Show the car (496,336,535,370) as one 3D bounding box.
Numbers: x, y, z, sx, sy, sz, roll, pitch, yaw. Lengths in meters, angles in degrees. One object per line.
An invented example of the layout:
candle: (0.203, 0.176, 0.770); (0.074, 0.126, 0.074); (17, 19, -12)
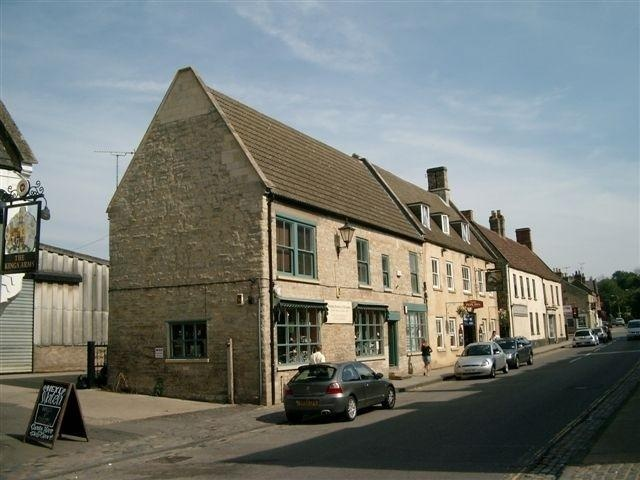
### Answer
car: (10.070, 5.822, 33.802); (1.140, 0.891, 2.516); (-9, -16, 33)

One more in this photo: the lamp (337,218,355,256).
lamp: (1.114, -0.136, 26.043); (0.651, 1.420, 1.085); (-2, -4, 26)

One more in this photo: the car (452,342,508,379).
car: (7.321, 5.541, 29.626); (1.728, 1.580, 2.789); (-3, -5, 35)
